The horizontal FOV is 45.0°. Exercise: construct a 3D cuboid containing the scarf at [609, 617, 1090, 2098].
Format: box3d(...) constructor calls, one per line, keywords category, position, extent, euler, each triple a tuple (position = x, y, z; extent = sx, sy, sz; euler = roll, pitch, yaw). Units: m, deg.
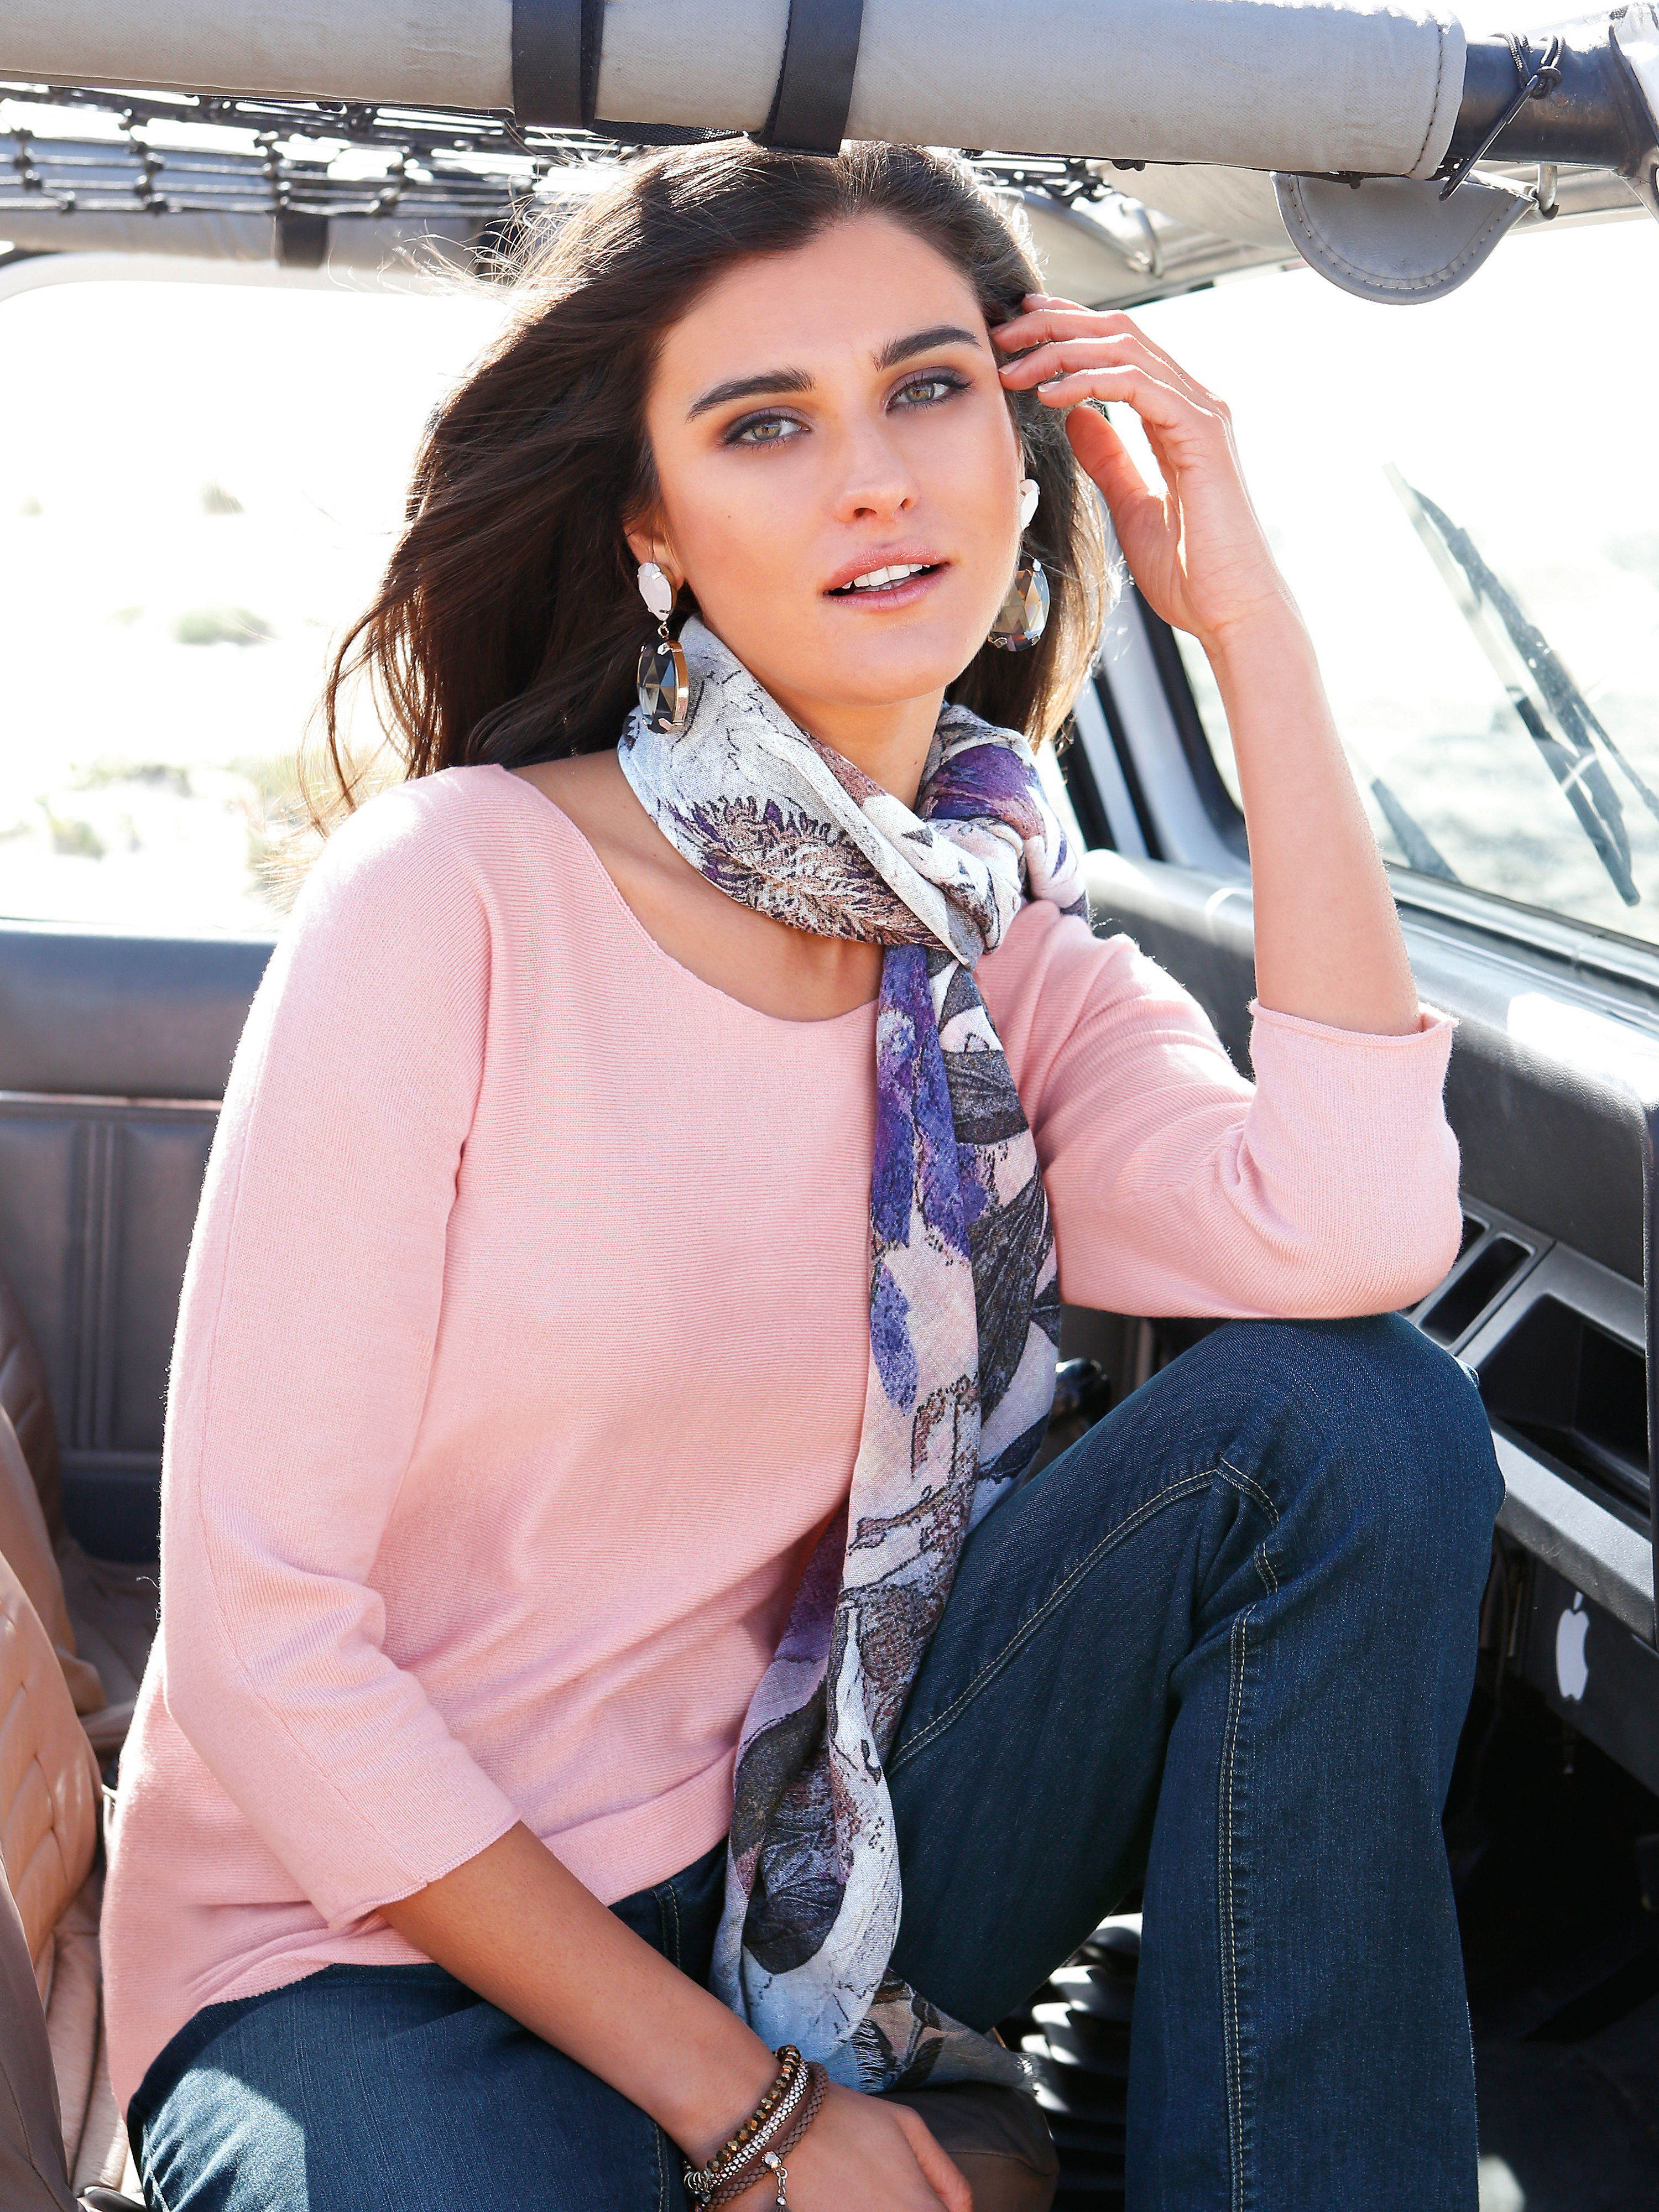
box3d(category="scarf", position=(0.044, 0.174, 1.410), extent=(0.321, 0.924, 0.314), euler=(-11, -15, 42))
